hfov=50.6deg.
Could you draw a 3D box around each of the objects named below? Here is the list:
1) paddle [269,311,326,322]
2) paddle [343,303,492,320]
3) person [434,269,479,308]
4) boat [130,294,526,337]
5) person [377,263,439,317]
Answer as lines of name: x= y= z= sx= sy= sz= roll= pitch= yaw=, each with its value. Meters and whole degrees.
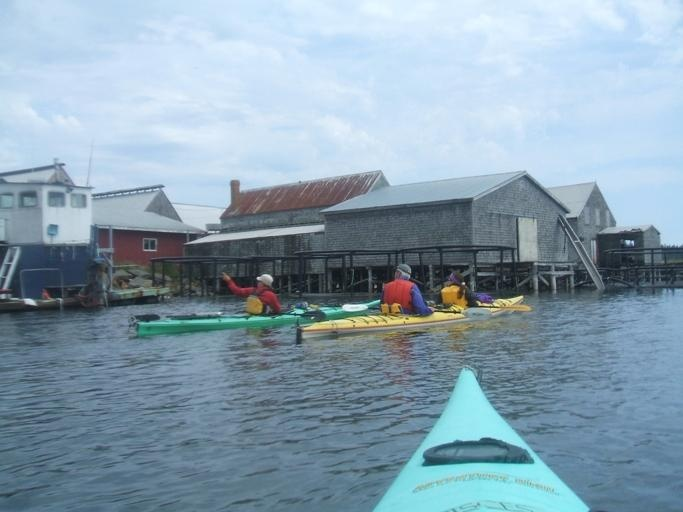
paddle: x=-0.925 y=1.490 z=17.503 sx=0.507 sy=0.175 sz=1.448 roll=1 pitch=2 yaw=32
paddle: x=1.986 y=1.377 z=17.672 sx=3.755 sy=0.337 sz=0.673 roll=-1 pitch=0 yaw=-31
person: x=3.087 y=0.943 z=18.918 sx=0.707 sy=0.674 sz=0.964 roll=10 pitch=15 yaw=39
boat: x=-0.205 y=1.574 z=18.705 sx=7.630 sy=0.564 sz=1.124 roll=-1 pitch=3 yaw=-20
person: x=1.514 y=0.810 z=16.884 sx=1.146 sy=1.251 sz=0.945 roll=-2 pitch=6 yaw=2
